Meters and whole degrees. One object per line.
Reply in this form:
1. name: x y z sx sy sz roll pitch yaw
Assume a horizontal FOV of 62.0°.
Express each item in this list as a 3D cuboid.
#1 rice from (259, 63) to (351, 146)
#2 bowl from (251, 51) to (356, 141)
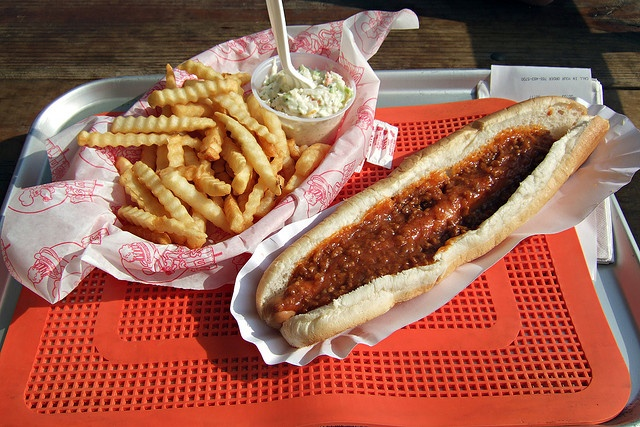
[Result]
1. rice: -0.124 -0.712 3.762 0.636 0.612 0.528 -9 45 -12
2. bowl: -0.094 -0.748 3.803 0.639 0.438 0.658 1 59 -1
